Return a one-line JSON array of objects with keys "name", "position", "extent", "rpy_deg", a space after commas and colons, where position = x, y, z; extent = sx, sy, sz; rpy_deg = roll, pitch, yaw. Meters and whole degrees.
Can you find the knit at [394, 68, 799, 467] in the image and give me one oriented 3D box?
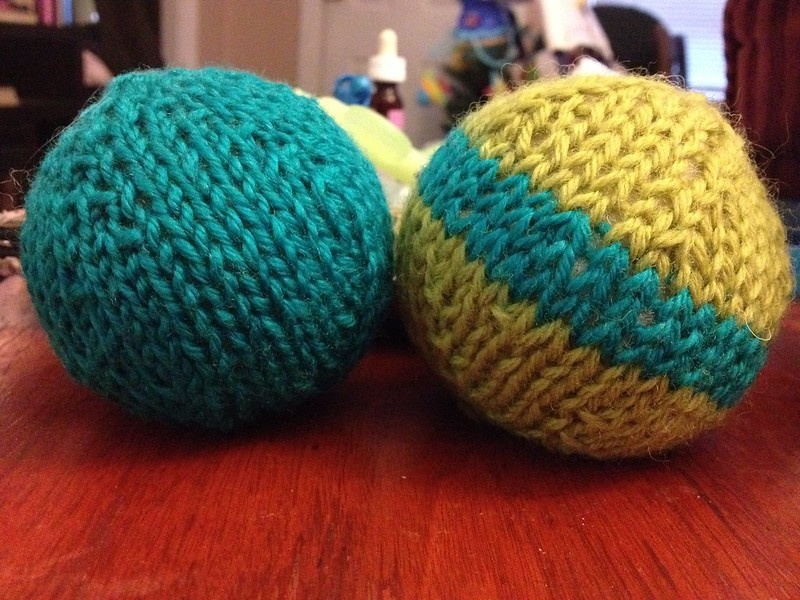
[{"name": "knit", "position": [0.162, -0.016, 0.786], "extent": [0.303, 0.305, 0.292], "rpy_deg": [3, -9, -38]}]
